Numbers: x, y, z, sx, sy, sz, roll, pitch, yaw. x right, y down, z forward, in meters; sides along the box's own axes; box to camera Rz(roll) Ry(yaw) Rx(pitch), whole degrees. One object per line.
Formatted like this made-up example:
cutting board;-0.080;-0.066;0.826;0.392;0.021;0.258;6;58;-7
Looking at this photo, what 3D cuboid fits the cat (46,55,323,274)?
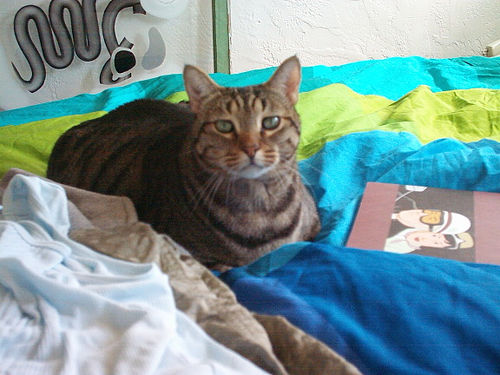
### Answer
cat;-0.352;-0.173;2.311;0.747;0.702;1.183;-19;40;-35
